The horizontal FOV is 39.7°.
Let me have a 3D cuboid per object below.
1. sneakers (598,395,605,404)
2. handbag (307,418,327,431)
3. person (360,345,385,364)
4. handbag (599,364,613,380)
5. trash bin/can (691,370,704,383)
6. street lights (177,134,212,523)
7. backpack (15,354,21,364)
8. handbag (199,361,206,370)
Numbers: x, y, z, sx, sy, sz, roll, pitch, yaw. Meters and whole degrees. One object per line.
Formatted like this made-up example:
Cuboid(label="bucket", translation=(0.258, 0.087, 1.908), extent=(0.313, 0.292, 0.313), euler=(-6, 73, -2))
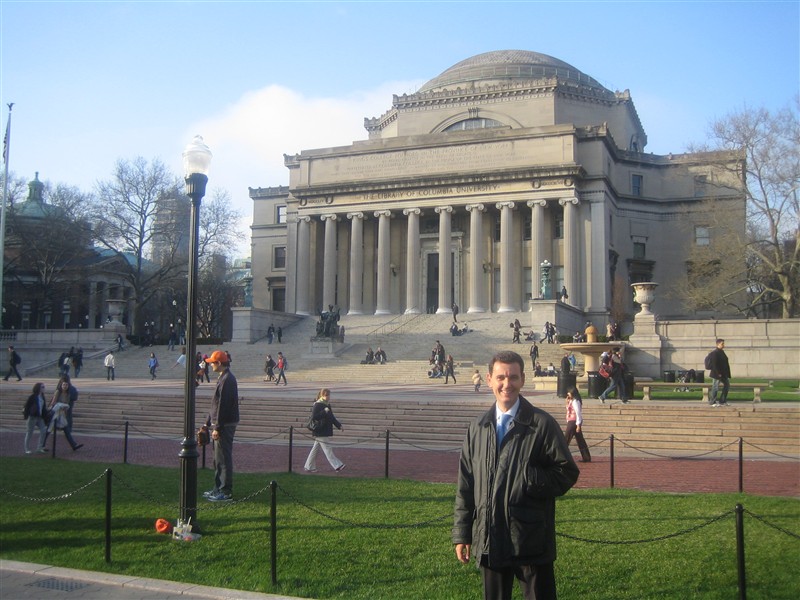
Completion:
Cuboid(label="sneakers", translation=(6.957, 3.436, 38.121), extent=(0.206, 0.297, 0.107), euler=(-5, -9, 38))
Cuboid(label="handbag", translation=(-2.284, 3.417, 29.820), extent=(0.457, 0.382, 0.294), euler=(-6, -7, 42))
Cuboid(label="person", translation=(-1.319, 2.815, 55.613), extent=(1.155, 0.793, 1.575), euler=(1, -6, -27))
Cuboid(label="handbag", translation=(7.340, 2.537, 39.541), extent=(0.364, 0.454, 0.461), euler=(16, 8, -26))
Cuboid(label="trash bin/can", translation=(13.060, 3.351, 48.667), extent=(0.531, 0.593, 0.528), euler=(2, -10, -10))
Cuboid(label="street lights", translation=(-4.732, 0.721, 25.357), extent=(0.630, 9.051, 0.988), euler=(0, -5, -11))
Cuboid(label="backpack", translation=(-18.235, 2.827, 52.733), extent=(0.120, 0.298, 0.445), euler=(-1, -5, -6))
Cuboid(label="handbag", translation=(-9.226, 3.040, 51.641), extent=(0.390, 0.514, 0.252), euler=(-7, 17, -31))
